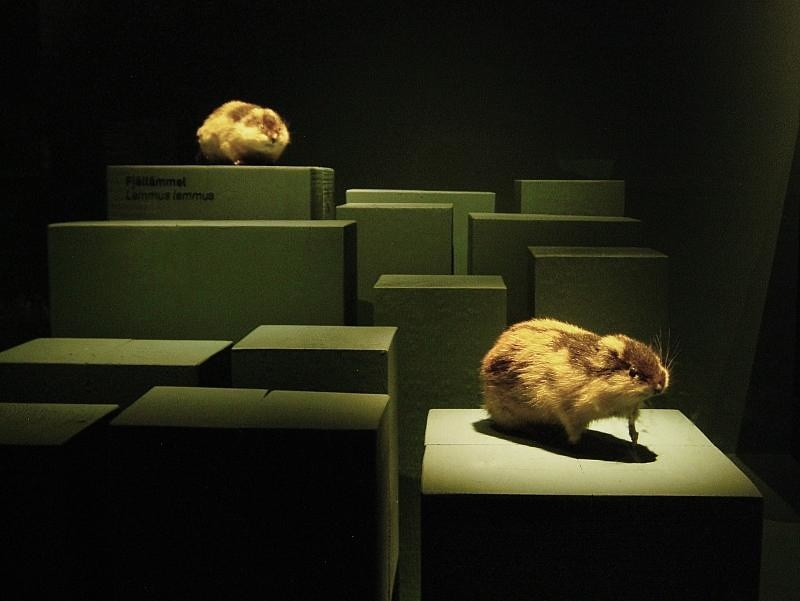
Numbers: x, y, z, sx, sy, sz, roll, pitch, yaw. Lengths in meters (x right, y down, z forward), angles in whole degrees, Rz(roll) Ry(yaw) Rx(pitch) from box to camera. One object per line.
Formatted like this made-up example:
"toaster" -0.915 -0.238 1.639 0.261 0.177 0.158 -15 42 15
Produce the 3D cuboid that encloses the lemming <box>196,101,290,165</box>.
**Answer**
"lemming" -0.618 -0.666 2.728 0.289 0.186 0.216 3 22 5

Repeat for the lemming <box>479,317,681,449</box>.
"lemming" 0.466 0.247 1.752 0.391 0.241 0.224 -1 8 33
